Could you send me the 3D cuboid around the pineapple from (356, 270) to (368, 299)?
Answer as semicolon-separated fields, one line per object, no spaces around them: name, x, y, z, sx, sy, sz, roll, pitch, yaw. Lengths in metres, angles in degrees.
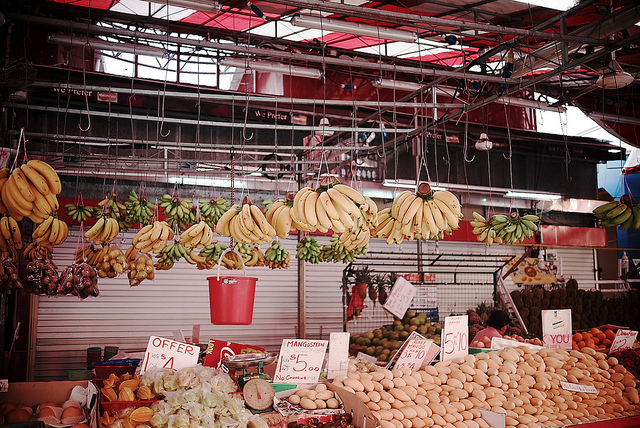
pineapple;0.825;1.338;11.585;0.198;0.548;0.306;0;1;-4

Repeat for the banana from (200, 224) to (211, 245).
banana;-1.894;0.318;9.827;0.184;0.376;0.101;24;43;14

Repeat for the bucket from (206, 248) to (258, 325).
bucket;-1.253;0.986;8.328;0.592;1.016;0.696;3;-6;-21

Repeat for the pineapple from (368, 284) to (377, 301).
pineapple;1.035;1.505;11.867;0.150;0.353;0.317;1;1;32
